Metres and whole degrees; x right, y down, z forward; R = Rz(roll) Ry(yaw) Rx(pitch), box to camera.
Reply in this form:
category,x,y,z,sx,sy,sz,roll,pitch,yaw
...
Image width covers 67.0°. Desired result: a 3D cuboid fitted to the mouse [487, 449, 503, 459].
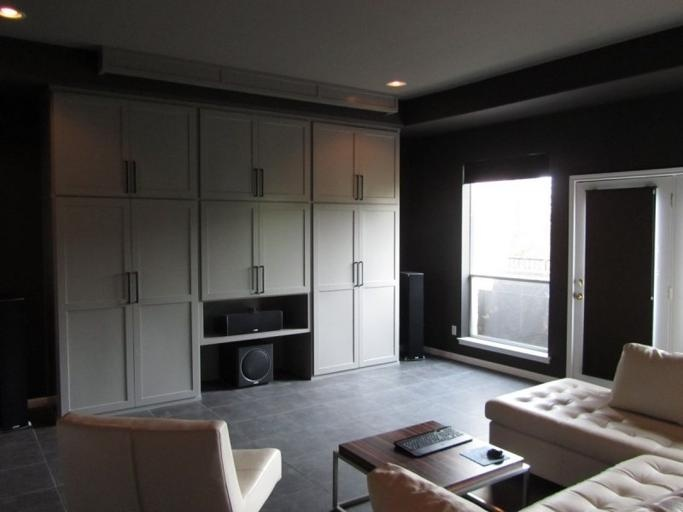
category,x,y,z,sx,sy,sz,roll,pitch,yaw
mouse,0.986,1.276,3.312,0.064,0.023,0.050,-1,4,12

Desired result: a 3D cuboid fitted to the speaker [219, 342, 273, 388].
category,x,y,z,sx,sy,sz,roll,pitch,yaw
speaker,-1.096,1.195,5.936,0.472,0.504,0.487,1,-1,-39
